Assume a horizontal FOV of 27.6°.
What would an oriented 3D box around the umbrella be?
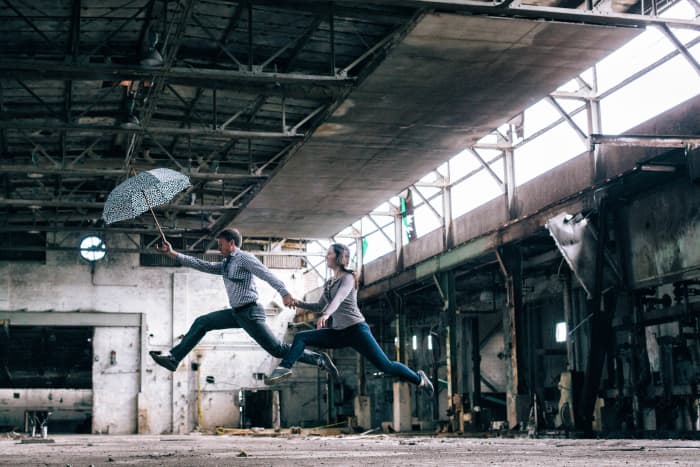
[{"bbox_3d":[-6.164,-0.730,42.471,2.680,2.061,2.339,5,-10,-21],"label":"umbrella"}]
